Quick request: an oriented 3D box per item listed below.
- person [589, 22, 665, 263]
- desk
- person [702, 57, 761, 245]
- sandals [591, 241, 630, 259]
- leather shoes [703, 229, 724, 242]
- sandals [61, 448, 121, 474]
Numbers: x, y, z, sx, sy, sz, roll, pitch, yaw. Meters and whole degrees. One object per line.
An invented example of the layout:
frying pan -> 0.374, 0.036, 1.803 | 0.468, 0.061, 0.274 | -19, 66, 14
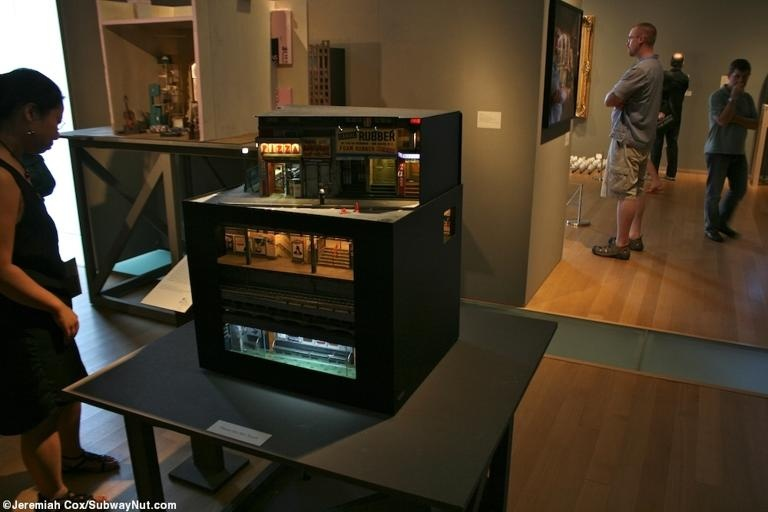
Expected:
person -> 2.412, -1.076, 5.521 | 0.497, 2.218, 0.547 | 9, 21, 25
desk -> 0.011, 0.344, 2.403 | 1.199, 0.582, 1.212 | 8, 27, 19
person -> 3.717, -1.129, 6.085 | 0.489, 1.867, 0.610 | 9, 21, 27
sandals -> 2.320, -0.047, 5.753 | 0.167, 0.147, 0.333 | -15, 21, -43
leather shoes -> 3.642, -0.231, 6.202 | 0.101, 0.080, 0.203 | -19, 29, -7
sandals -> -1.694, 1.190, 3.304 | 0.358, 0.132, 0.128 | -1, 11, -9
